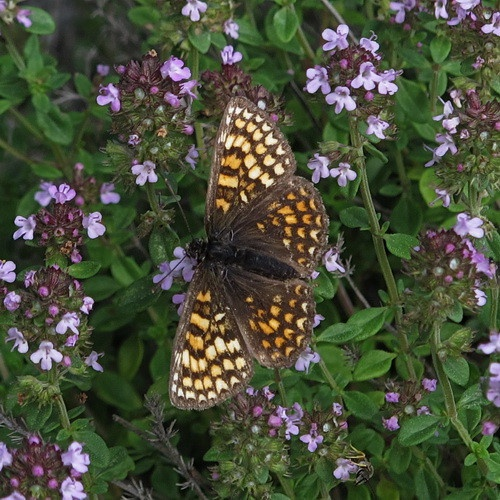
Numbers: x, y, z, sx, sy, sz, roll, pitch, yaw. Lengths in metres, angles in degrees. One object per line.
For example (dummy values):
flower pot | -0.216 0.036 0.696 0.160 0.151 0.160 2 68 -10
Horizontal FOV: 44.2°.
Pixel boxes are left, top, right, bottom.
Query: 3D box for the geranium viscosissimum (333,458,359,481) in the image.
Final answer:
geranium viscosissimum | 0.361 0.821 2.297 0.098 0.091 0.080 14 -6 0

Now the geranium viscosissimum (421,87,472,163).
geranium viscosissimum | 0.739 -0.474 2.357 0.199 0.293 0.164 2 22 12

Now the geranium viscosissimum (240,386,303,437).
geranium viscosissimum | 0.072 0.594 2.240 0.221 0.184 0.236 -4 21 -15

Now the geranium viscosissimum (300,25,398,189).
geranium viscosissimum | 0.411 -0.559 2.424 0.448 0.600 0.452 1 23 12

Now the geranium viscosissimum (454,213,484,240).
geranium viscosissimum | 0.780 -0.086 2.226 0.116 0.088 0.038 13 -22 -6

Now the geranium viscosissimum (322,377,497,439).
geranium viscosissimum | 0.669 0.608 2.435 0.351 0.129 0.303 10 41 14
